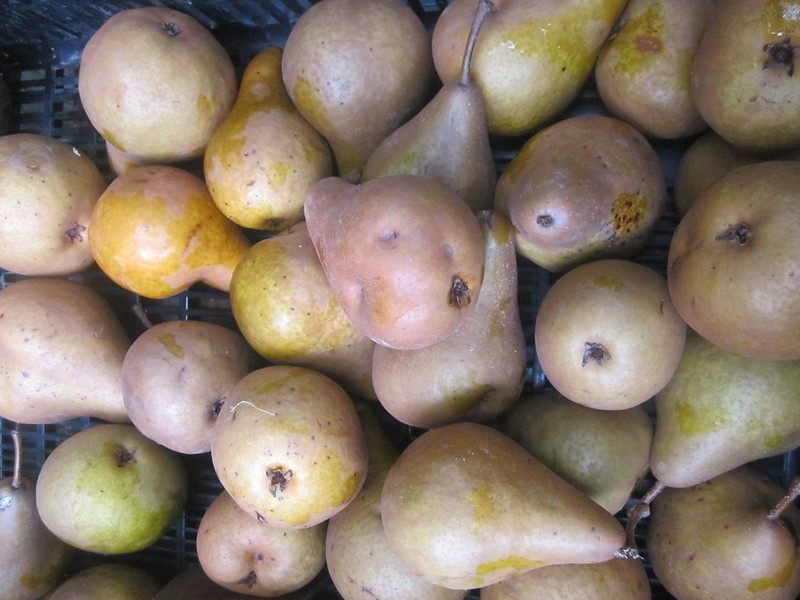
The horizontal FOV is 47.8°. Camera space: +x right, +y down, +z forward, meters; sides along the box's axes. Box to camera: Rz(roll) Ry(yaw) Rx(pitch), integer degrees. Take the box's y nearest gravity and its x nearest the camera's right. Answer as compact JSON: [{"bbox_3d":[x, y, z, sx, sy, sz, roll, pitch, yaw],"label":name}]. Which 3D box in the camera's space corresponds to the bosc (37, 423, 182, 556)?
[{"bbox_3d":[-0.830,0.526,2.615,0.351,0.353,0.351,-17,28,-14],"label":"bosc"}]
